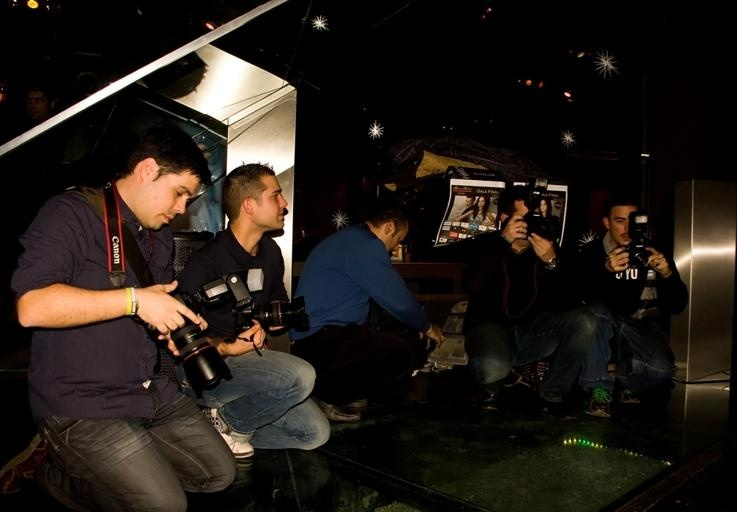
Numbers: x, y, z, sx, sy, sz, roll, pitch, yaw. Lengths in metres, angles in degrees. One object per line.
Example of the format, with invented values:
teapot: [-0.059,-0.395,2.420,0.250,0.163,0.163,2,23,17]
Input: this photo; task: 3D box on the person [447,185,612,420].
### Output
person: [1.154,0.310,4.011,0.904,1.585,0.613,4,12,18]

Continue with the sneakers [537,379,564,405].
sneakers: [1.281,0.947,3.907,0.194,0.167,0.142,7,-8,20]

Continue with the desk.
desk: [0.613,0.611,4.811,0.670,0.637,1.072,-4,19,-2]

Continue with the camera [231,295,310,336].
camera: [-0.545,0.324,3.096,0.345,0.139,0.205,-2,6,1]

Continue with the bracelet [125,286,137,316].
bracelet: [-1.081,0.199,2.557,0.040,0.099,0.096,-1,32,-24]

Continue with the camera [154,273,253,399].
camera: [-0.851,0.377,2.864,0.588,0.508,0.194,-24,2,-23]

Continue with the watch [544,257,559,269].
watch: [1.296,0.052,3.975,0.081,0.081,0.093,1,33,3]

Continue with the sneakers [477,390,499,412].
sneakers: [0.858,1.035,3.967,0.140,0.121,0.141,-7,-18,23]
